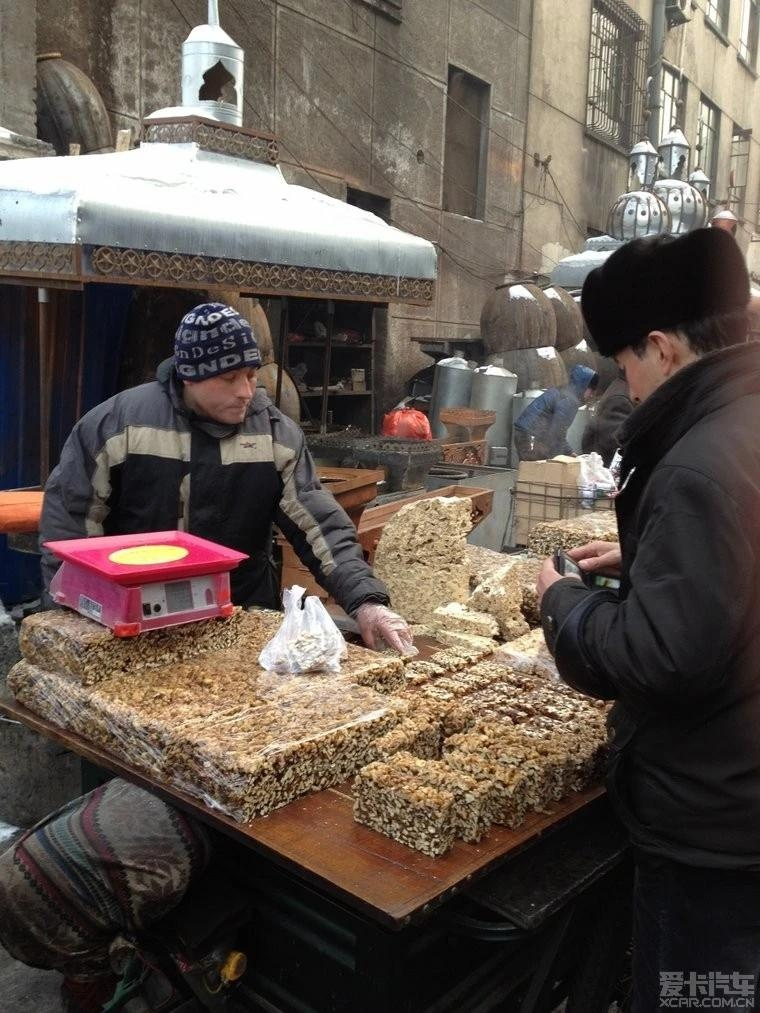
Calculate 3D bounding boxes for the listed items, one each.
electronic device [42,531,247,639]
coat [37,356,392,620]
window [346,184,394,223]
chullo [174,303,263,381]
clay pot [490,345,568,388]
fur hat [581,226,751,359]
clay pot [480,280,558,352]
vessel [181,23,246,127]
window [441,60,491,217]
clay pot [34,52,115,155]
[{"bbox_3d":[-0.665,0.210,2.487,0.409,0.157,0.488,-10,15,-44],"label":"electronic device"},{"bbox_3d":[-0.534,-0.012,3.384,1.085,1.356,1.023,-8,16,-41],"label":"coat"},{"bbox_3d":[-0.151,-3.904,11.326,0.347,0.292,0.960,6,12,20],"label":"window"},{"bbox_3d":[-0.584,-0.553,3.095,0.284,0.246,0.279,-16,27,-30],"label":"chullo"},{"bbox_3d":[2.032,-1.927,11.801,0.753,0.750,0.759,-9,3,1],"label":"clay pot"},{"bbox_3d":[0.544,-0.414,1.752,0.309,0.188,0.218,-11,25,48],"label":"fur hat"},{"bbox_3d":[1.908,-2.588,12.016,0.971,0.900,0.972,-4,12,1],"label":"clay pot"},{"bbox_3d":[-1.063,-2.761,5.537,0.372,0.631,0.444,-1,12,-11],"label":"vessel"},{"bbox_3d":[1.322,-5.550,13.433,0.355,2.055,1.250,8,13,26],"label":"window"},{"bbox_3d":[-2.421,-3.171,6.931,0.564,0.732,0.299,-2,12,-15],"label":"clay pot"}]
